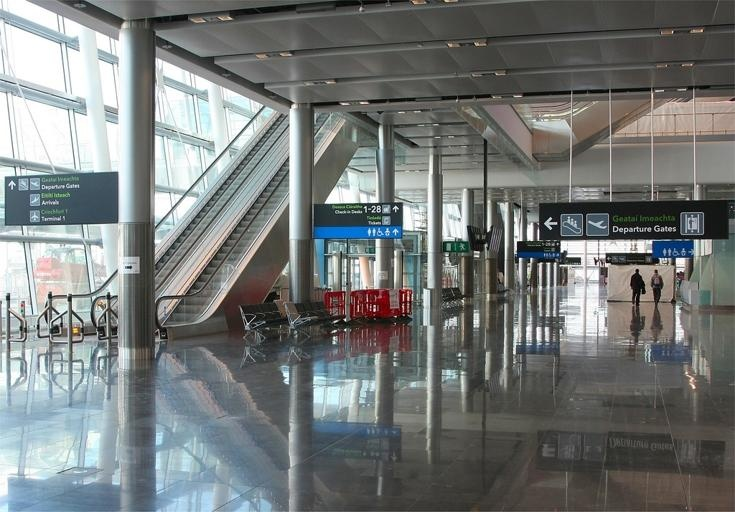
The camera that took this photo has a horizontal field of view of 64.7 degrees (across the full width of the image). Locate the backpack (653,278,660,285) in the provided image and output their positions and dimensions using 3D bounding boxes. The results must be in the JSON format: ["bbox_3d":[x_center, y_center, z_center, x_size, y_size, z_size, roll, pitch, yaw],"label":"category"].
[{"bbox_3d":[13.833,1.186,27.937,0.319,0.493,0.507,3,-5,31],"label":"backpack"}]
